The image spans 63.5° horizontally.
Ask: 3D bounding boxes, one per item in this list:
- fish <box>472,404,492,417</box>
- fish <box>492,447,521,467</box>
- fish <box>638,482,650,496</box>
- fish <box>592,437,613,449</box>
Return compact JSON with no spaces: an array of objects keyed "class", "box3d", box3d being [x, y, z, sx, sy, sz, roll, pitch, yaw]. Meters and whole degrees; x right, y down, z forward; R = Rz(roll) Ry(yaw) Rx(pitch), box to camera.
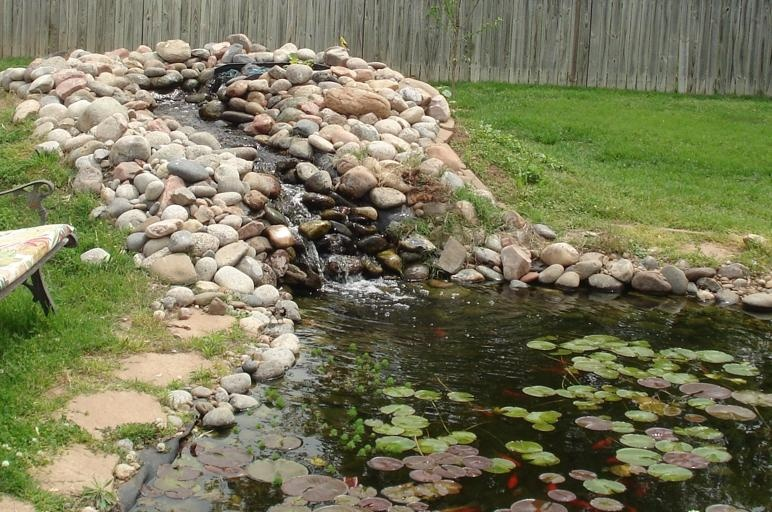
[{"class":"fish","box3d":[0.920,1.446,5.911,0.059,0.101,0.268,-11,15,-31]},{"class":"fish","box3d":[1.046,1.709,5.373,0.289,0.070,0.132,24,24,-13]},{"class":"fish","box3d":[2.112,1.894,5.111,0.080,0.038,0.075,-16,20,-5]},{"class":"fish","box3d":[1.933,1.644,5.535,0.223,0.058,0.069,-13,25,-28]}]
